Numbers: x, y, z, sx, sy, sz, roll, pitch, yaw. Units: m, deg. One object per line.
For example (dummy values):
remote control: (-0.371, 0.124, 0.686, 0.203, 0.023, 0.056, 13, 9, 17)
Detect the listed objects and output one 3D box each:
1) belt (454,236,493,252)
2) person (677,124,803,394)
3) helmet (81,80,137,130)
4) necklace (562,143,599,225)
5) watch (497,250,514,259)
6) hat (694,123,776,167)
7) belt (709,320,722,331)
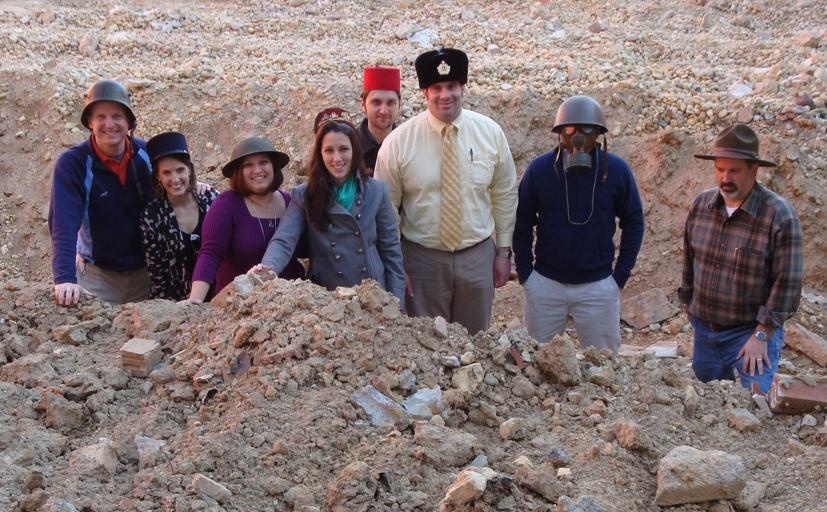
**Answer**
belt: (0.696, -0.114, 12.643, 0.271, 0.119, 0.243, -23, 4, 37)
person: (3.671, 0.037, 12.226, 1.344, 2.891, 0.783, 16, 27, 40)
helmet: (-3.526, -1.806, 12.718, 0.540, 0.414, 0.620, 1, 15, -2)
necklace: (1.883, -0.775, 12.383, 0.397, 0.834, 0.201, 1, 3, 7)
watch: (1.087, -0.017, 12.831, 0.110, 0.073, 0.115, 4, 6, 37)
hat: (3.642, -1.231, 12.117, 0.518, 0.269, 0.636, 9, 2, 40)
belt: (3.477, 0.793, 12.431, 0.095, 0.101, 0.097, -9, 15, -12)
